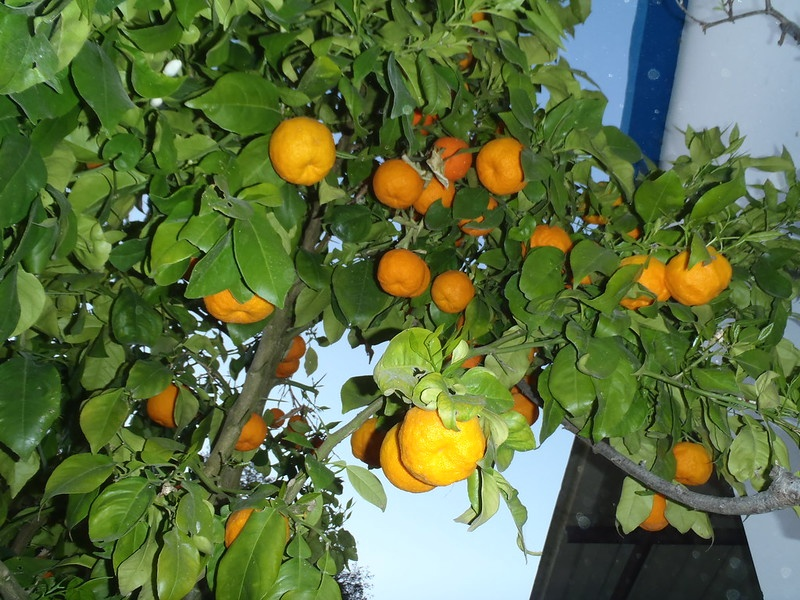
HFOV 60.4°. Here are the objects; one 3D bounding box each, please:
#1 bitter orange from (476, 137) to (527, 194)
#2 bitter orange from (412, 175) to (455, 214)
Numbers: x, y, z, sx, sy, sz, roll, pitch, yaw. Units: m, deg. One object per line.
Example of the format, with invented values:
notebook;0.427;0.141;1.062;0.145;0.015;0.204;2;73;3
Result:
bitter orange;0.216;-0.301;1.485;0.108;0.097;0.108;2;-34;16
bitter orange;0.078;-0.235;1.540;0.074;0.102;0.073;-2;-6;-39
